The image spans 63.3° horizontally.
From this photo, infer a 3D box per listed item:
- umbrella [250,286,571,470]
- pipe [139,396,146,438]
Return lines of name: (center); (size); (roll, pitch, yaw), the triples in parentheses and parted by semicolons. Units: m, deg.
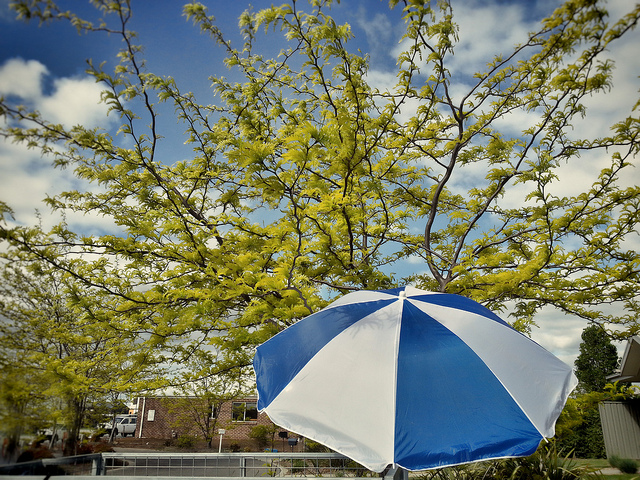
umbrella: (1.322, 1.975, 7.935); (4.324, 2.672, 1.044); (-2, -25, -6)
pipe: (-11.985, 11.947, 35.010); (0.232, 2.367, 0.742); (3, -27, -19)
